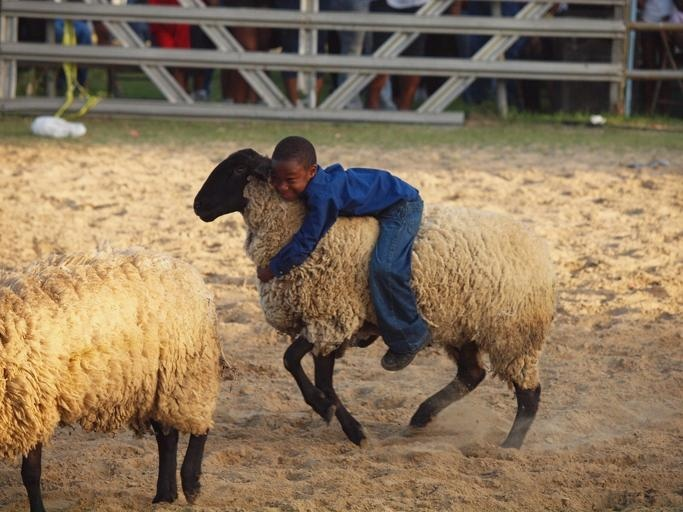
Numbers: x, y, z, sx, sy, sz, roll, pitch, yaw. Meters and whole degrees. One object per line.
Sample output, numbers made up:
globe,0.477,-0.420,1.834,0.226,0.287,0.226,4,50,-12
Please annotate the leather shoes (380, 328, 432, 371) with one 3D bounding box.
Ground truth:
leather shoes,0.474,0.716,11.673,0.184,0.431,0.210,35,21,-38
